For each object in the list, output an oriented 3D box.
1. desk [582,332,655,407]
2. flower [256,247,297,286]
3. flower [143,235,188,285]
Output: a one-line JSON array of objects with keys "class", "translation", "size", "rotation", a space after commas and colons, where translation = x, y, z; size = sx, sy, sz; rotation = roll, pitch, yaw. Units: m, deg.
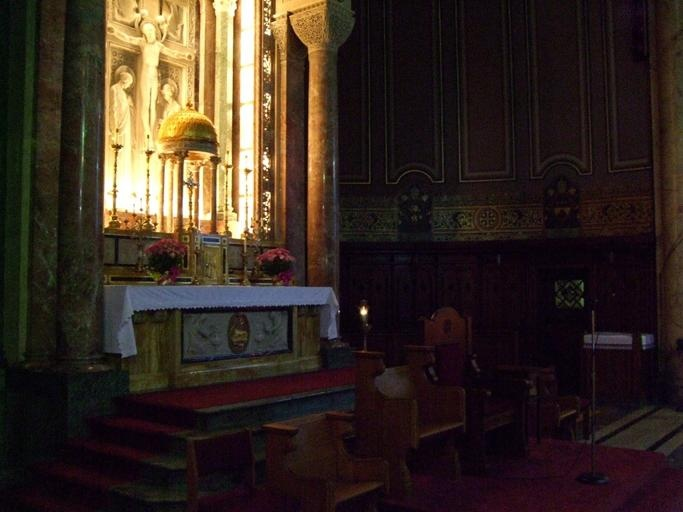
[{"class": "desk", "translation": [4.589, 1.868, 12.476], "size": [1.004, 1.198, 0.828], "rotation": [-4, -4, 37]}, {"class": "flower", "translation": [-0.981, 0.149, 11.294], "size": [0.497, 0.621, 0.524], "rotation": [-1, 0, -24]}, {"class": "flower", "translation": [-2.258, 0.058, 9.619], "size": [0.495, 0.697, 0.608], "rotation": [3, -7, -12]}]
